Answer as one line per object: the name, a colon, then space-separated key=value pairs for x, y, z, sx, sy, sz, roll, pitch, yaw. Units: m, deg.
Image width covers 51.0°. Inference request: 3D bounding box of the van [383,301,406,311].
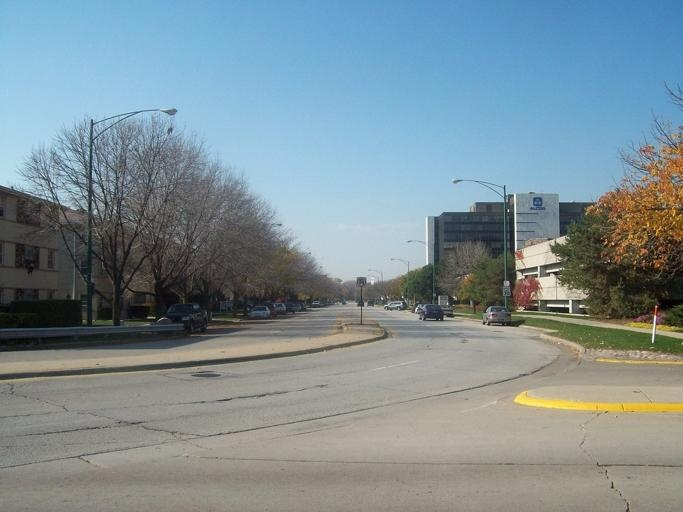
van: x=8.658 y=8.475 z=119.552 sx=3.252 sy=1.158 sz=1.794 roll=0 pitch=-3 yaw=41
